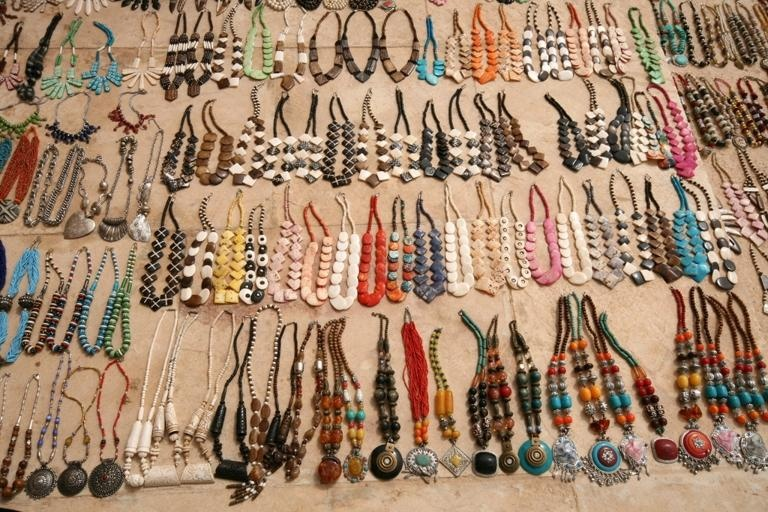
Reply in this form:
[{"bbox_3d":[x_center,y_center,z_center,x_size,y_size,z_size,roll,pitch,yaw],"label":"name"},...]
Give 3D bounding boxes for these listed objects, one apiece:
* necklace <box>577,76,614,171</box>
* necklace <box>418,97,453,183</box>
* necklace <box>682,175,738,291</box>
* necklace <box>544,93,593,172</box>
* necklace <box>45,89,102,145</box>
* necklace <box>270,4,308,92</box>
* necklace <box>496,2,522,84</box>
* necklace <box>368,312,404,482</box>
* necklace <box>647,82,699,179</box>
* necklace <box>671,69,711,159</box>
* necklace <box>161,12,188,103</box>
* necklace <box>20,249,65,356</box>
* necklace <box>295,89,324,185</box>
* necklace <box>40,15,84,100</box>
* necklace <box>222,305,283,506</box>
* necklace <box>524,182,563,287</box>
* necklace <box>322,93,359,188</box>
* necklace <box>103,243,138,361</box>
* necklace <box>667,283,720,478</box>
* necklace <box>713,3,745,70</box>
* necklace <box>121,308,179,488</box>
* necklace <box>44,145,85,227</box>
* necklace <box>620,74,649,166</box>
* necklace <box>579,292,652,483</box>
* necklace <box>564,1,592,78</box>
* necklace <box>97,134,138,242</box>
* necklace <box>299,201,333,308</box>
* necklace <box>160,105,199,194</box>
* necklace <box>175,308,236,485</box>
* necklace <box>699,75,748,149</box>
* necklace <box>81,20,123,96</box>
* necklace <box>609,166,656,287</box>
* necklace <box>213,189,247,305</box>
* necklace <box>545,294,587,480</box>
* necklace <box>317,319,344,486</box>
[{"bbox_3d":[1.449,-0.884,5.322,0.121,0.085,0.622,4,60,3],"label":"necklace"},{"bbox_3d":[0.337,-0.781,5.251,0.219,0.052,0.685,-1,60,-3],"label":"necklace"},{"bbox_3d":[2.119,-0.159,5.016,0.209,0.039,0.688,-9,65,7],"label":"necklace"},{"bbox_3d":[1.252,-0.840,5.242,0.149,0.031,0.503,-7,63,2],"label":"necklace"},{"bbox_3d":[-2.091,-0.918,5.225,0.329,0.273,0.315,-13,28,-25],"label":"necklace"},{"bbox_3d":[-0.665,-1.466,5.486,0.253,0.470,0.512,-3,25,-4],"label":"necklace"},{"bbox_3d":[0.900,-1.525,5.569,0.190,0.432,0.476,2,25,7],"label":"necklace"},{"bbox_3d":[0.003,0.832,4.595,0.150,0.129,0.905,-4,79,-1],"label":"necklace"},{"bbox_3d":[2.014,-0.881,5.342,0.187,0.057,0.722,12,60,-17],"label":"necklace"},{"bbox_3d":[2.132,-0.979,5.441,0.157,0.172,0.638,22,42,-51],"label":"necklace"},{"bbox_3d":[-1.457,-1.383,5.454,0.133,0.044,0.611,2,68,-7],"label":"necklace"},{"bbox_3d":[-2.087,0.264,4.767,0.127,0.063,0.674,0,63,-5],"label":"necklace"},{"bbox_3d":[-0.481,-0.806,5.148,0.128,0.055,0.588,5,70,-1],"label":"necklace"},{"bbox_3d":[-2.212,-1.393,5.381,0.190,0.065,0.609,-1,66,-2],"label":"necklace"},{"bbox_3d":[-0.731,0.851,4.573,0.219,0.127,1.093,4,73,-15],"label":"necklace"},{"bbox_3d":[1.005,-0.144,4.953,0.172,0.066,0.612,-7,69,2],"label":"necklace"},{"bbox_3d":[-0.282,-0.842,5.148,0.209,0.714,0.045,-4,68,2],"label":"necklace"},{"bbox_3d":[-1.591,0.288,4.754,0.111,0.074,0.665,7,70,-4],"label":"necklace"},{"bbox_3d":[1.780,0.707,4.619,0.266,1.243,0.119,-11,14,8],"label":"necklace"},{"bbox_3d":[2.525,-1.602,5.727,0.096,0.085,0.627,-9,78,5],"label":"necklace"},{"bbox_3d":[-1.390,0.851,4.622,0.160,0.114,1.128,6,69,-7],"label":"necklace"},{"bbox_3d":[-2.069,-0.441,5.100,0.134,0.078,0.570,16,65,-9],"label":"necklace"},{"bbox_3d":[1.718,-0.937,5.367,0.099,0.052,0.652,0,67,-6],"label":"necklace"},{"bbox_3d":[1.366,0.799,4.684,0.344,0.799,0.699,0,24,2],"label":"necklace"},{"bbox_3d":[1.396,-1.563,5.628,0.118,0.081,0.589,5,58,-2],"label":"necklace"},{"bbox_3d":[-1.698,-0.447,5.045,0.153,0.077,0.706,2,66,-5],"label":"necklace"},{"bbox_3d":[-0.407,-0.052,4.860,0.208,0.746,0.058,3,43,-1],"label":"necklace"},{"bbox_3d":[-1.306,-0.733,5.097,0.178,0.588,0.069,8,36,-22],"label":"necklace"},{"bbox_3d":[-1.036,0.816,4.618,0.117,0.963,0.228,-1,-10,40],"label":"necklace"},{"bbox_3d":[2.371,-1.020,5.500,0.161,0.076,0.654,-5,60,5],"label":"necklace"},{"bbox_3d":[-1.934,-1.330,5.386,0.212,0.535,0.054,-4,-3,1],"label":"necklace"},{"bbox_3d":[1.594,-0.208,4.975,0.189,0.064,0.697,-3,74,-3],"label":"necklace"},{"bbox_3d":[-0.939,0.017,4.885,0.223,0.865,0.063,-19,41,-39],"label":"necklace"},{"bbox_3d":[1.138,0.831,4.848,0.196,0.122,1.235,-9,28,23],"label":"necklace"},{"bbox_3d":[-0.308,0.882,4.650,0.130,0.116,0.875,18,63,-41],"label":"necklace"}]
